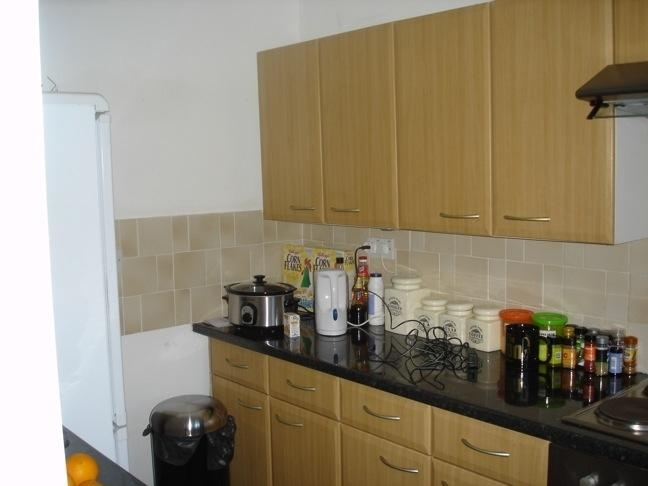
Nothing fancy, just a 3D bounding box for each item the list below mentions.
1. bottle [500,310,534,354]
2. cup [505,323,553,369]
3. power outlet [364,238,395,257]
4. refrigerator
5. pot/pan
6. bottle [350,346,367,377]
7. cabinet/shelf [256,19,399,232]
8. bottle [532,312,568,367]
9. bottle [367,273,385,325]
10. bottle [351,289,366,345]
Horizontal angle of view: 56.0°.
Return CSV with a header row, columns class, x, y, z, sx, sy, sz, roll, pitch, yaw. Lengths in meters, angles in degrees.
class,x,y,z,sx,sy,sz,roll,pitch,yaw
bottle,0.729,0.349,2.349,0.159,0.163,0.135,-2,9,9
cup,0.744,0.376,2.188,0.108,0.137,0.171,-4,5,-41
power outlet,0.273,0.027,2.928,0.033,0.097,0.173,-7,6,-37
refrigerator,-0.888,0.196,2.319,0.271,1.500,0.215,-6,6,-34
pot/pan,-0.294,0.277,2.868,0.353,0.248,0.338,3,6,11
bottle,0.140,0.451,2.315,0.043,0.182,0.040,0,14,0
cabinet/shelf,0.106,-0.505,2.750,0.319,0.809,0.880,-7,10,-36
bottle,0.816,0.350,2.196,0.106,0.185,0.177,-1,3,7
bottle,0.238,0.259,2.728,0.078,0.243,0.056,-3,5,2
bottle,0.155,0.310,2.676,0.086,0.185,0.273,-3,5,4
